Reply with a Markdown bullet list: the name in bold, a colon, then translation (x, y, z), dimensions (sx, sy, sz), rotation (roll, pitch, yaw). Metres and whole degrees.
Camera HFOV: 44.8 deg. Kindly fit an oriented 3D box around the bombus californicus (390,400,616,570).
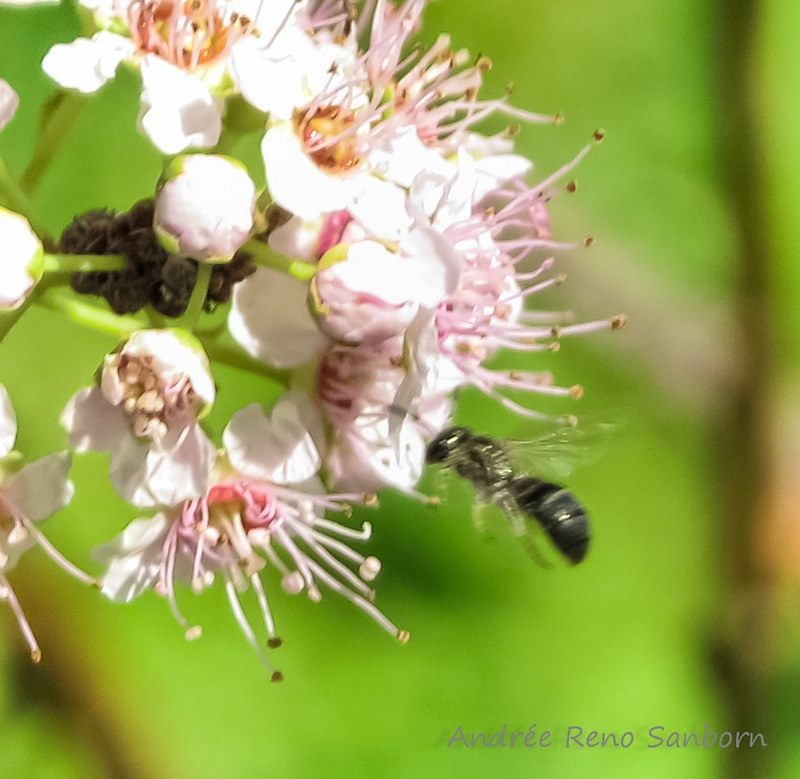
- **bombus californicus**: translation (0.200, 0.204, 1.799), dimensions (0.298, 0.166, 0.311), rotation (26, -18, -6)
